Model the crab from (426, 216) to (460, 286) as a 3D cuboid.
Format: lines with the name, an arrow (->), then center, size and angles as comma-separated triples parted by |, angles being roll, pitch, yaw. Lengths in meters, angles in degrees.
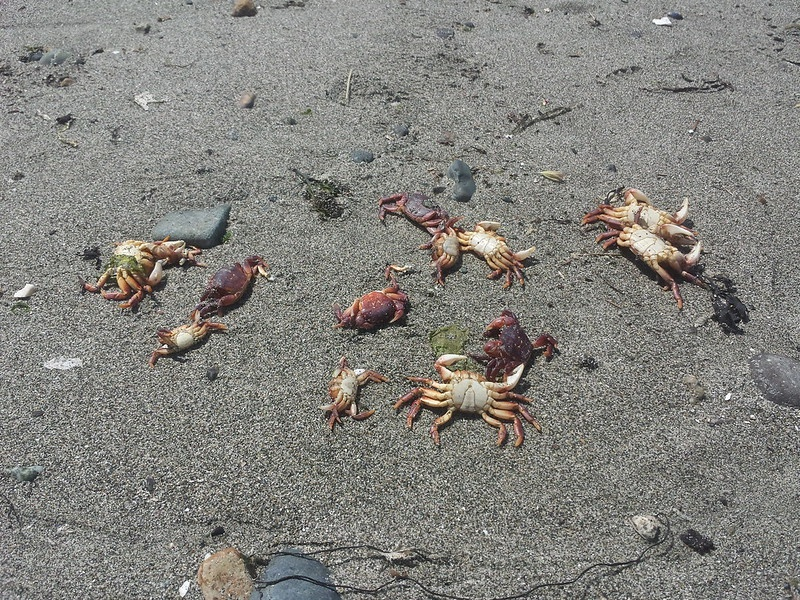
crab -> 0.555, -0.586, 9.206 | 0.350, 0.337, 0.879 | 0, 76, 2

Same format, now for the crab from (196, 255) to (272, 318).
crab -> -1.976, -0.177, 8.940 | 0.458, 0.372, 1.023 | 39, 59, 5

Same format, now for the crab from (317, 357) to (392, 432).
crab -> -0.541, 1.087, 8.394 | 0.584, 0.244, 0.789 | 23, 78, 7

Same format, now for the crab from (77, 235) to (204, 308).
crab -> -3.016, -0.390, 9.077 | 0.927, 0.307, 0.988 | 35, 55, 26
